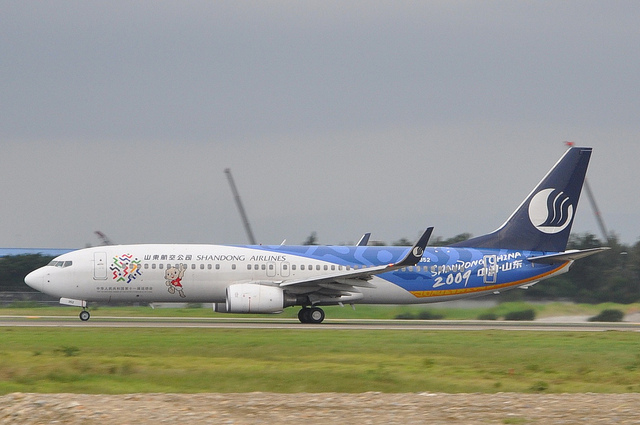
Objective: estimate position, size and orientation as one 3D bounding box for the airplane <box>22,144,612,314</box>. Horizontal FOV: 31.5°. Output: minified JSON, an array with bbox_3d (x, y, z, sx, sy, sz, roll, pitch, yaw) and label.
[{"bbox_3d":[-0.220,1.438,56.179,28.161,6.183,23.156,-1,8,3],"label":"airplane"}]
